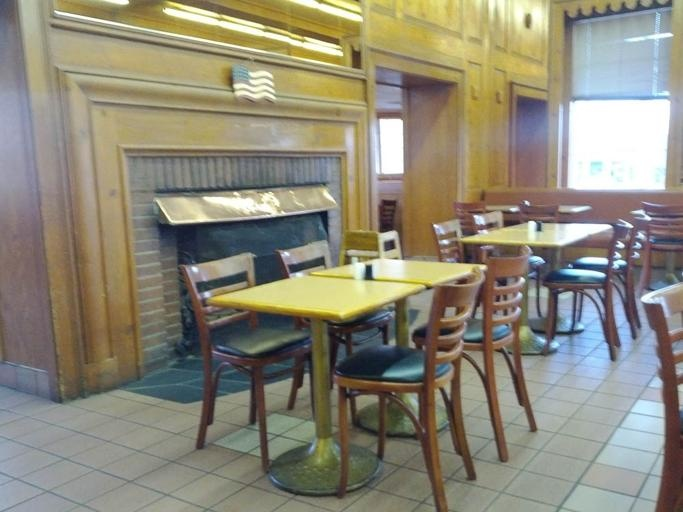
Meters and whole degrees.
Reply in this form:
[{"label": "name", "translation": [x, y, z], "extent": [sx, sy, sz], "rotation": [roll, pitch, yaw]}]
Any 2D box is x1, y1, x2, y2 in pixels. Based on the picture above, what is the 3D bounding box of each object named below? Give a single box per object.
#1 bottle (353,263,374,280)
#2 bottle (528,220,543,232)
[{"label": "bottle", "translation": [0.143, 0.093, 3.248], "extent": [0.113, 0.092, 0.105], "rotation": [-4, 8, -23]}, {"label": "bottle", "translation": [1.846, -0.291, 5.128], "extent": [0.139, 0.094, 0.133], "rotation": [0, 5, 0]}]
